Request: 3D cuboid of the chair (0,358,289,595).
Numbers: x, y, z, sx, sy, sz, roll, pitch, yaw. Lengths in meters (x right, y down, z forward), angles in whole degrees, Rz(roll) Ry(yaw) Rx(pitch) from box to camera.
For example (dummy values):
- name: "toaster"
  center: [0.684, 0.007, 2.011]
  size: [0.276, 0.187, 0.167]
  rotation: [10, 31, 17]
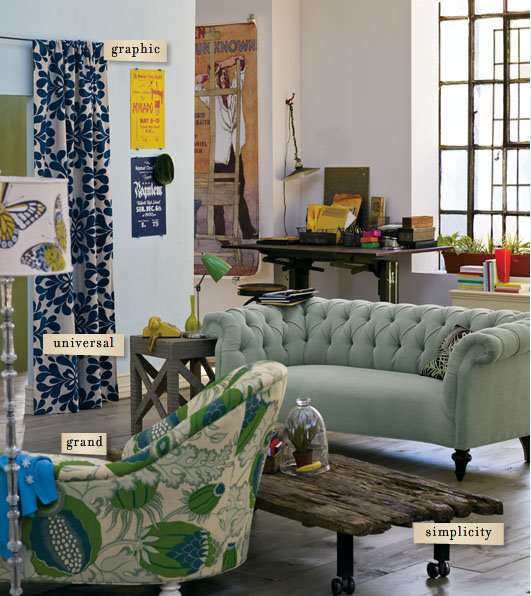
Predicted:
- name: "chair"
  center: [-0.330, 0.521, 2.230]
  size: [0.765, 0.650, 0.648]
  rotation: [2, -2, 4]

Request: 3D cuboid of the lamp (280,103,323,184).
- name: "lamp"
  center: [0.406, -1.855, 7.958]
  size: [0.398, 1.020, 0.350]
  rotation: [0, 3, -1]

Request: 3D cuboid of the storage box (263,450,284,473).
- name: "storage box"
  center: [0.038, 0.667, 2.832]
  size: [0.106, 0.083, 0.059]
  rotation: [1, 6, 0]

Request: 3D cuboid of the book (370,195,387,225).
- name: "book"
  center: [1.238, -0.961, 7.560]
  size: [0.174, 0.332, 0.223]
  rotation: [1, 3, 8]
